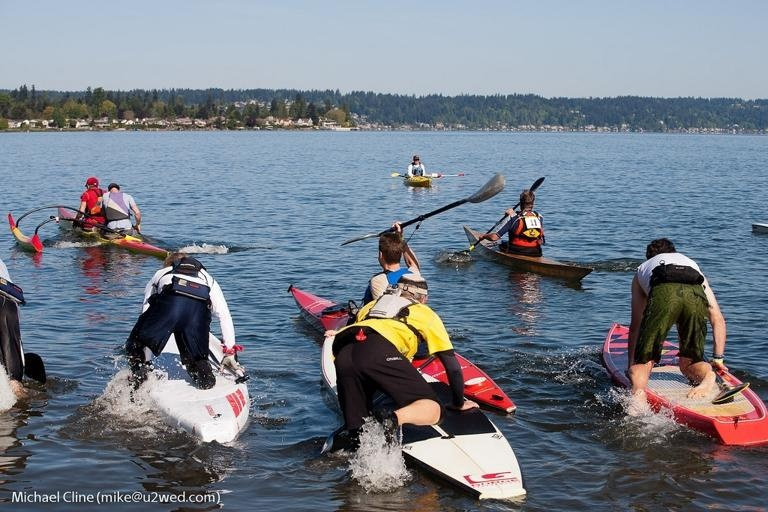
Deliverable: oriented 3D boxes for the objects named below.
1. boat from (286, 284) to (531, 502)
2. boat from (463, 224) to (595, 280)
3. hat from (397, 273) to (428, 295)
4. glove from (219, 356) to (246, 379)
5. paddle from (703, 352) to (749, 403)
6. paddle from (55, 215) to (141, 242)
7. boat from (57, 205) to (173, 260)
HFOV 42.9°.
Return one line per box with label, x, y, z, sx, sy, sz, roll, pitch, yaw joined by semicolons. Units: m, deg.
boat;0.143;2.317;17.057;1.635;0.779;6.100;-12;23;-28
boat;3.294;-0.113;24.734;0.917;0.495;4.867;-5;17;-36
hat;0.505;0.474;15.603;0.475;0.305;0.330;15;8;-13
glove;-2.585;1.862;16.748;0.305;0.225;0.687;-4;15;-16
paddle;5.688;2.144;16.380;0.465;0.171;1.046;-1;23;-10
paddle;-7.748;-0.732;26.921;1.934;0.255;0.382;15;47;30
boat;-7.431;-0.591;26.882;3.899;0.623;0.663;19;28;31
